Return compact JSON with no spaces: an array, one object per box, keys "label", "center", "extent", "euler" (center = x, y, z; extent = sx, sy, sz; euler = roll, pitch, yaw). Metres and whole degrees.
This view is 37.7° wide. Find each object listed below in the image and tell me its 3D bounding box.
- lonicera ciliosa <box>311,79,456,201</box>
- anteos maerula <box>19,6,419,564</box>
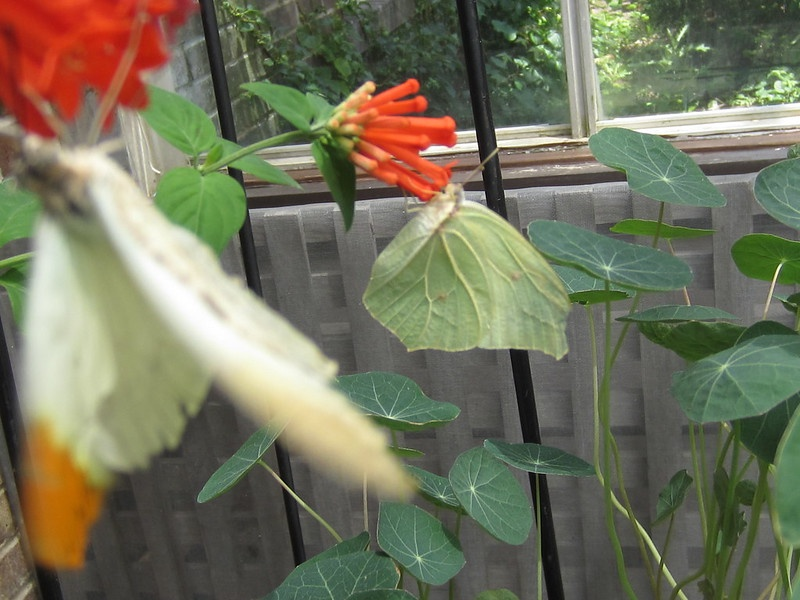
[{"label":"lonicera ciliosa","center":[-0.017,-0.283,2.079],"extent":[0.303,0.135,0.159],"euler":[8,50,-13]},{"label":"anteos maerula","center":[-0.342,0.011,1.758],"extent":[0.652,0.942,0.352],"euler":[-7,13,-1]}]
